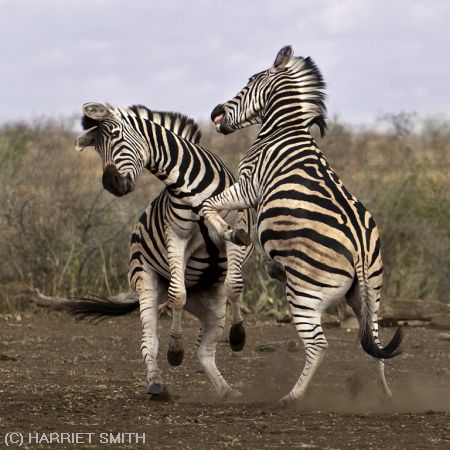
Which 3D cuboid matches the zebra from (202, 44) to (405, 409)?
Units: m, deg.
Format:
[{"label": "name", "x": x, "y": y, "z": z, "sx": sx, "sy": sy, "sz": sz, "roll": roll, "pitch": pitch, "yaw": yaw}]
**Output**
[{"label": "zebra", "x": 0.704, "y": -0.049, "z": 9.046, "sx": 1.768, "sy": 3.249, "sz": 0.965, "roll": 3, "pitch": 3, "yaw": 39}]
